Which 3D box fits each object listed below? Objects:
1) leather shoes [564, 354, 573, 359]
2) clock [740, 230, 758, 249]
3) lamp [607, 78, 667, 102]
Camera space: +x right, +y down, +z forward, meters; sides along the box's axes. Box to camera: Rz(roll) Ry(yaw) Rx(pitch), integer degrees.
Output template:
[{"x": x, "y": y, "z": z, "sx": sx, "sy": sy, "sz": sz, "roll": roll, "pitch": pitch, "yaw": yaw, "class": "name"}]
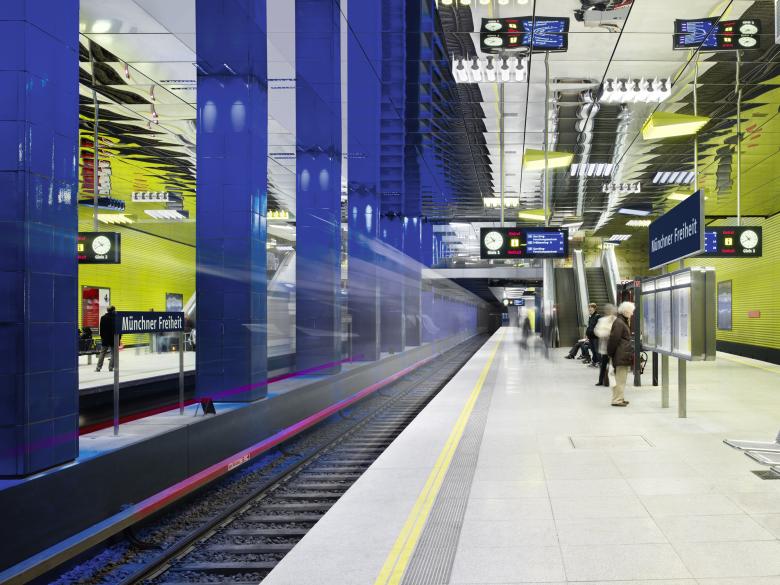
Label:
[{"x": 5.964, "y": 2.129, "z": 19.570, "sx": 0.147, "sy": 0.174, "sz": 0.422, "roll": 0, "pitch": -16, "yaw": 7, "class": "leather shoes"}, {"x": 8.089, "y": -1.187, "z": 13.248, "sx": 0.092, "sy": 0.355, "sz": 0.376, "roll": -8, "pitch": -14, "yaw": -41, "class": "clock"}, {"x": 5.155, "y": -4.127, "z": 12.181, "sx": 0.677, "sy": 0.149, "sz": 0.608, "roll": 0, "pitch": -6, "yaw": 12, "class": "lamp"}]
